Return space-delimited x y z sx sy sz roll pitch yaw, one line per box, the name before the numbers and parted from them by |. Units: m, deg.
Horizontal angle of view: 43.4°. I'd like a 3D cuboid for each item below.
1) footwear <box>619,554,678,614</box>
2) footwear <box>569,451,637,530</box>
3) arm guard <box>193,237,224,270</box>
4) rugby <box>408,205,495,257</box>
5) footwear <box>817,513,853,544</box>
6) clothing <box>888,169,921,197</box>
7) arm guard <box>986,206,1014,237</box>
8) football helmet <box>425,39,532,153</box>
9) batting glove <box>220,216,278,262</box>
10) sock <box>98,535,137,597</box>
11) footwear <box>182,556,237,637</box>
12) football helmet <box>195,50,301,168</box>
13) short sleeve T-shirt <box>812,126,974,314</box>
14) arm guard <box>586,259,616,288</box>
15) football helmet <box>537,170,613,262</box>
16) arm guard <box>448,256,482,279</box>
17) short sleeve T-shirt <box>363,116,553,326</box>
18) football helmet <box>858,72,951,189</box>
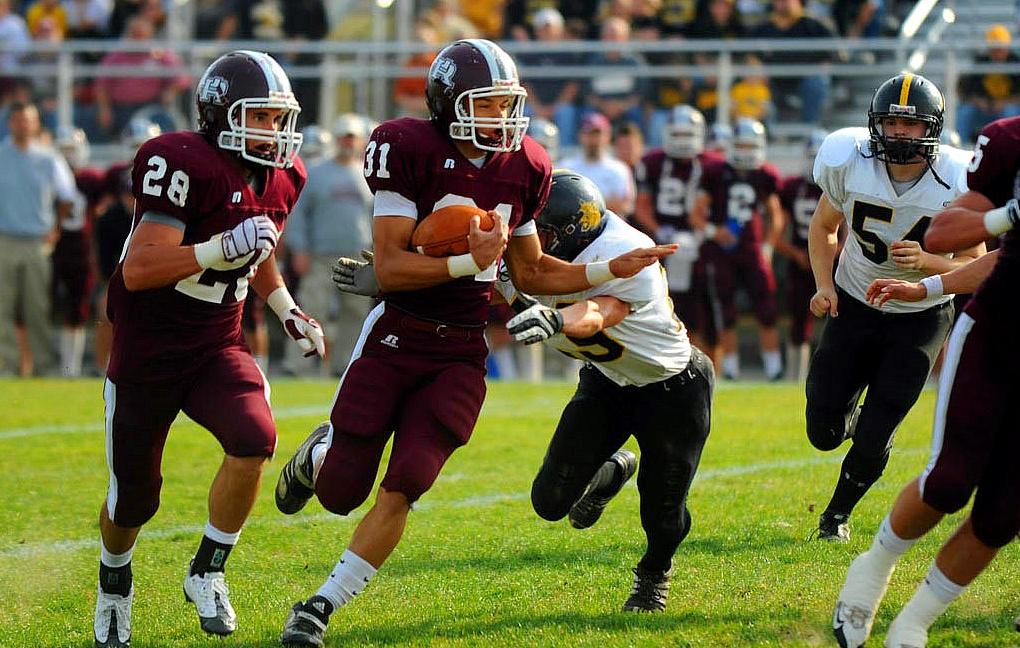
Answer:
footwear | 0.656 1.262 6.108 0.119 0.128 0.332 7 9 15
footwear | 0.467 0.872 6.693 0.473 0.159 0.214 -42 5 15
arm guard | -1.350 -0.321 5.785 0.128 0.149 0.115 -5 13 -13
rugby | -0.263 -0.419 5.825 0.325 0.198 0.213 -13 -17 1
footwear | 1.691 1.072 6.709 0.184 0.181 0.117 0 -15 14
clothing | 2.087 -0.753 6.833 0.145 0.115 0.115 -23 5 15
arm guard | 2.100 -0.445 5.558 0.130 0.115 0.123 -23 0 24
football helmet | -0.155 -1.106 6.028 0.550 0.480 0.403 19 25 38
batting glove | -1.175 -0.384 5.854 0.257 0.219 0.232 -5 13 -12
sock | -1.799 1.128 5.915 0.140 0.231 0.231 2 -2 -14
footwear | -1.392 1.263 5.972 0.141 0.166 0.390 -11 42 -38
football helmet | -1.265 -1.018 6.007 0.583 0.518 0.438 10 10 34
short sleeve T-shirt | 2.145 -0.510 6.990 1.020 0.977 0.550 7 9 35
arm guard | 0.414 -0.236 5.963 0.122 0.111 0.115 -11 32 -15
football helmet | 0.271 -0.535 6.250 0.442 0.384 0.346 -8 15 -11
arm guard | -0.211 -0.258 5.801 0.100 0.102 0.122 -2 -11 -10
short sleeve T-shirt | -0.256 -0.492 6.111 0.957 0.922 0.522 7 -3 -26
football helmet | 2.076 -1.106 6.816 0.387 0.429 0.507 4 12 9
